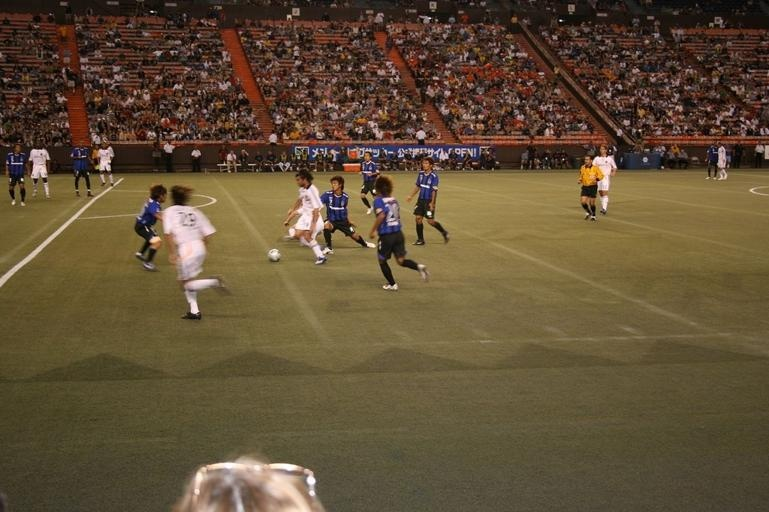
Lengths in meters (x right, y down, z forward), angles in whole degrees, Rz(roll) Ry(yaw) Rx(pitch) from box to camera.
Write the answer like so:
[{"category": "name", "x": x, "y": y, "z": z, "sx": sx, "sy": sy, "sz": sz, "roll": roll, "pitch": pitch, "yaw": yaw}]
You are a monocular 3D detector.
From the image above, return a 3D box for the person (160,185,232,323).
[{"category": "person", "x": -3.222, "y": -0.073, "z": 12.996, "sx": 0.847, "sy": 2.138, "sz": 1.585, "roll": -3, "pitch": 13, "yaw": -14}]

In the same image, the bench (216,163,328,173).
[{"category": "bench", "x": -7.024, "y": -5.218, "z": 46.154, "sx": 6.706, "sy": 0.557, "sz": 1.193, "roll": -2, "pitch": 12, "yaw": -13}]

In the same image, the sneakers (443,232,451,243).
[{"category": "sneakers", "x": 1.572, "y": -0.465, "z": 19.712, "sx": 0.183, "sy": 0.305, "sz": 0.113, "roll": -13, "pitch": 11, "yaw": 3}]

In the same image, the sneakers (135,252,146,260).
[{"category": "sneakers", "x": -5.338, "y": 0.011, "z": 17.120, "sx": 0.203, "sy": 0.125, "sz": 0.116, "roll": 24, "pitch": -5, "yaw": 36}]

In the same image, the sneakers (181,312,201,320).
[{"category": "sneakers", "x": -3.142, "y": 0.976, "z": 12.688, "sx": 0.295, "sy": 0.100, "sz": 0.116, "roll": 3, "pitch": 2, "yaw": 3}]

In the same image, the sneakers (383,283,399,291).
[{"category": "sneakers", "x": 0.114, "y": 0.594, "z": 14.801, "sx": 0.303, "sy": 0.107, "sz": 0.131, "roll": 3, "pitch": 8, "yaw": 23}]

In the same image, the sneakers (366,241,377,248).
[{"category": "sneakers", "x": -0.335, "y": -0.278, "z": 19.882, "sx": 0.115, "sy": 0.092, "sz": 0.249, "roll": -13, "pitch": 13, "yaw": -30}]

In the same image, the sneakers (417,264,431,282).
[{"category": "sneakers", "x": 0.765, "y": 0.315, "z": 14.590, "sx": 0.155, "sy": 0.356, "sz": 0.184, "roll": -23, "pitch": 11, "yaw": -22}]

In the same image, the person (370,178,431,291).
[{"category": "person", "x": 0.214, "y": -0.388, "z": 14.571, "sx": 0.972, "sy": 2.115, "sz": 1.004, "roll": 0, "pitch": 13, "yaw": -1}]
